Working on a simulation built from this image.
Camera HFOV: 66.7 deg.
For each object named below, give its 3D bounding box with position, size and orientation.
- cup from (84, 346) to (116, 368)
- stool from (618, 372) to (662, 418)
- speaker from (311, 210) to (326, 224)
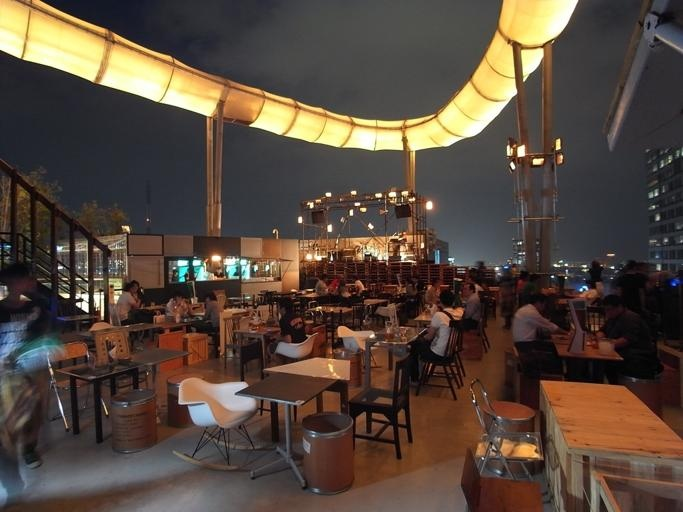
[{"bbox_3d":[-3.965,1.679,8.564,0.405,0.288,0.430,2,1,0],"label":"cup"},{"bbox_3d":[4.868,2.224,8.568,0.643,0.783,0.683,1,2,25],"label":"stool"},{"bbox_3d":[-1.235,-2.091,27.975,0.770,0.831,0.585,-2,13,-5],"label":"speaker"}]
